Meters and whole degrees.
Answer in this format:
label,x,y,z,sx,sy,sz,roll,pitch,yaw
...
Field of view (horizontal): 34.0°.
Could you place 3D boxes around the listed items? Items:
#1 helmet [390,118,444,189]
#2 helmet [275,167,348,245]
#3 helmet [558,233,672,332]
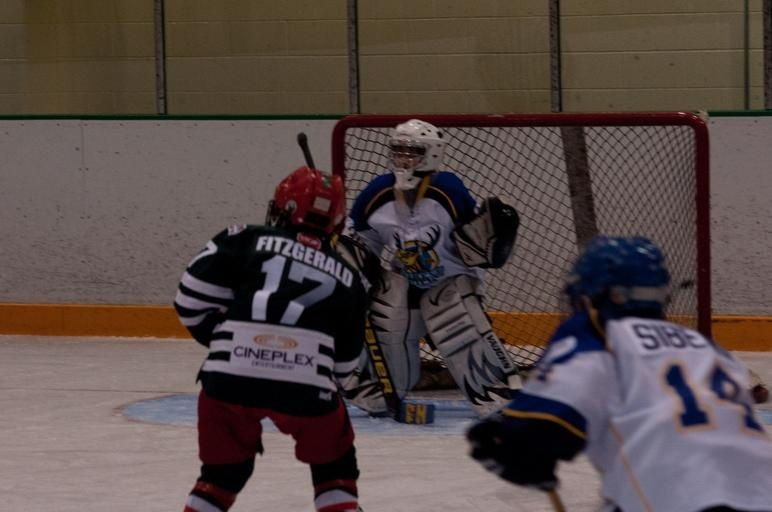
label,x,y,z,sx,sy,sz,roll,pitch,yaw
helmet,0.217,-0.672,8.423,0.361,0.448,0.263,-1,15,-5
helmet,-0.396,-0.285,7.037,0.350,0.397,0.421,15,4,-15
helmet,1.074,0.135,6.121,0.502,0.436,0.403,-15,-13,43
